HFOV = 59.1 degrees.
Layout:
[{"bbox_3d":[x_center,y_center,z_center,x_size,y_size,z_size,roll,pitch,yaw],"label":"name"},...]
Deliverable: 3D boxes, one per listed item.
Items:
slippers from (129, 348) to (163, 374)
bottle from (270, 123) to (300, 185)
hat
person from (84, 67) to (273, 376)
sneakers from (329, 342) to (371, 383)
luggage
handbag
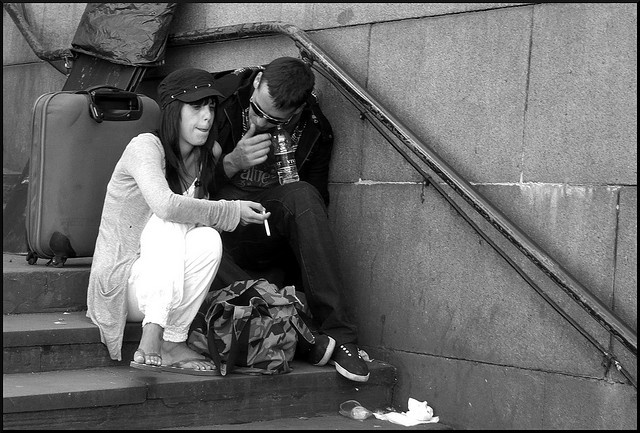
[{"bbox_3d":[-0.949,0.793,3.108,0.154,0.148,0.137,3,4,-2],"label":"slippers"},{"bbox_3d":[-0.228,-0.403,3.727,0.191,0.383,0.203,4,4,0],"label":"bottle"},{"bbox_3d":[-0.758,-0.774,3.313,0.546,0.258,0.303,-6,21,-15],"label":"hat"},{"bbox_3d":[-0.842,-0.009,3.255,0.894,1.721,0.545,2,4,-21],"label":"person"},{"bbox_3d":[0.174,0.871,3.451,0.142,0.123,0.299,-2,16,-39],"label":"sneakers"},{"bbox_3d":[-1.717,-0.308,4.294,0.533,1.303,0.943,11,8,43],"label":"luggage"},{"bbox_3d":[-0.415,0.621,3.560,0.813,0.498,0.780,-3,13,-36],"label":"handbag"}]
